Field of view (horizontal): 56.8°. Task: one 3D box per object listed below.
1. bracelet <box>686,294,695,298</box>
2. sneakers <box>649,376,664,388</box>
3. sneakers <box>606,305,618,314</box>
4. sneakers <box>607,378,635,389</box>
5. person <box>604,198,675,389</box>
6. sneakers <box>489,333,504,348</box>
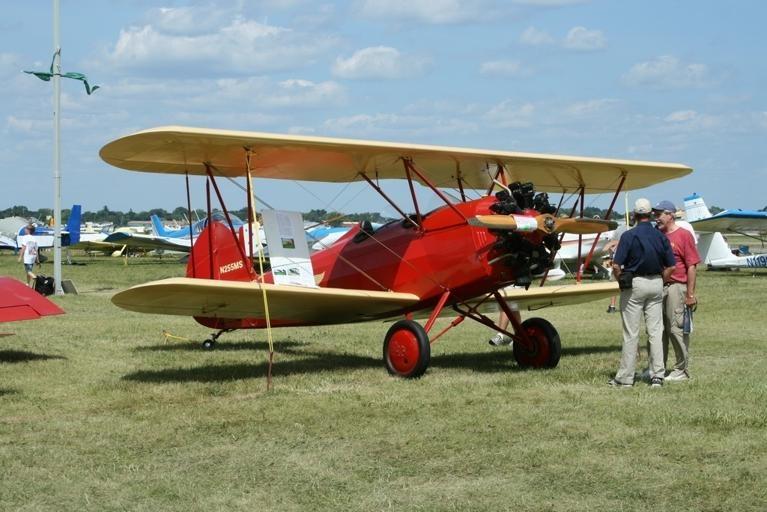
[{"bbox_3d":[3.112,0.412,7.199,0.046,0.037,0.072,-2,2,-40],"label":"bracelet"},{"bbox_3d":[2.720,1.247,7.048,0.091,0.085,0.234,-2,-11,13],"label":"sneakers"},{"bbox_3d":[4.196,0.983,12.979,0.141,0.129,0.364,2,7,16],"label":"sneakers"},{"bbox_3d":[2.390,1.287,7.116,0.260,0.083,0.086,-2,-2,20],"label":"sneakers"},{"bbox_3d":[2.584,0.488,7.105,0.577,1.593,0.574,3,13,19],"label":"person"},{"bbox_3d":[1.602,1.174,9.890,0.117,0.103,0.290,0,-2,40],"label":"sneakers"}]
